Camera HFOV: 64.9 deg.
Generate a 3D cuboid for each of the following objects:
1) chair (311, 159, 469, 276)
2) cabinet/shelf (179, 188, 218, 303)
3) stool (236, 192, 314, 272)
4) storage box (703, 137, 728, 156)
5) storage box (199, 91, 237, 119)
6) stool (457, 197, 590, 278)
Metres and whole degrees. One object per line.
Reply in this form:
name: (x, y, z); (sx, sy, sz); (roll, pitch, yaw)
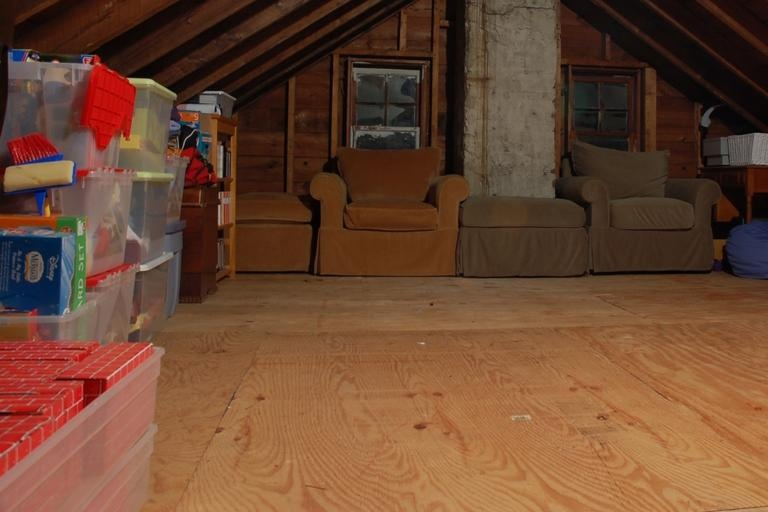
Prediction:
chair: (0.012, -0.333, 4.311); (1.055, 0.819, 0.759); (-1, 13, -7)
cabinet/shelf: (-0.961, -0.062, 3.103); (0.223, 0.550, 0.613); (1, 3, -5)
stool: (-0.683, -0.168, 4.096); (0.531, 0.440, 0.525); (0, 5, 5)
storage box: (2.861, -0.939, 5.194); (0.122, 0.136, 0.219); (-6, 5, -11)
storage box: (-1.042, -0.971, 3.823); (0.205, 0.124, 0.287); (2, 11, 4)
stool: (0.957, -0.095, 4.199); (0.647, 0.370, 0.633); (0, 3, 2)
